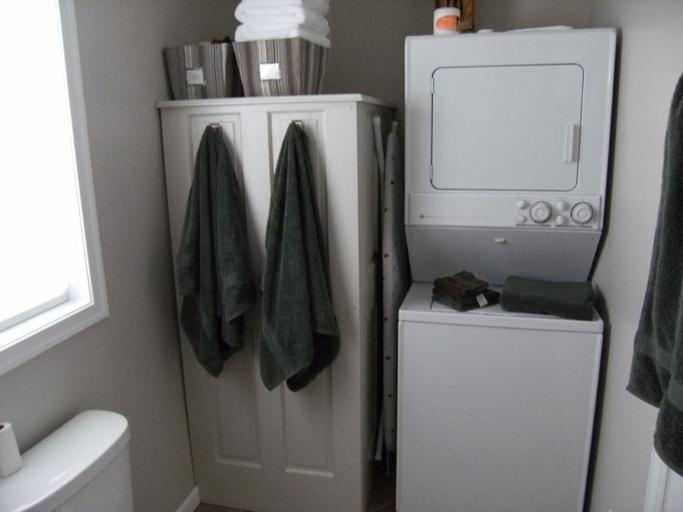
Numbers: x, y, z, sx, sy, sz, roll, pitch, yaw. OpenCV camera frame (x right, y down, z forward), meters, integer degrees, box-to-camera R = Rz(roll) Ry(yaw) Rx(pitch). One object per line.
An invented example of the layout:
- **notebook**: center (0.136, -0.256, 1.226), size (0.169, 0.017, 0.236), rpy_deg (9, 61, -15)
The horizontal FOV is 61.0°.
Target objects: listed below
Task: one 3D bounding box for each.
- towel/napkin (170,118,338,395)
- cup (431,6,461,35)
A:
- **towel/napkin**: center (-0.372, 0.028, 2.462), size (0.748, 1.150, 0.291), rpy_deg (6, 18, 15)
- **cup**: center (0.449, -1.008, 2.486), size (0.112, 0.148, 0.127), rpy_deg (1, 11, 2)
